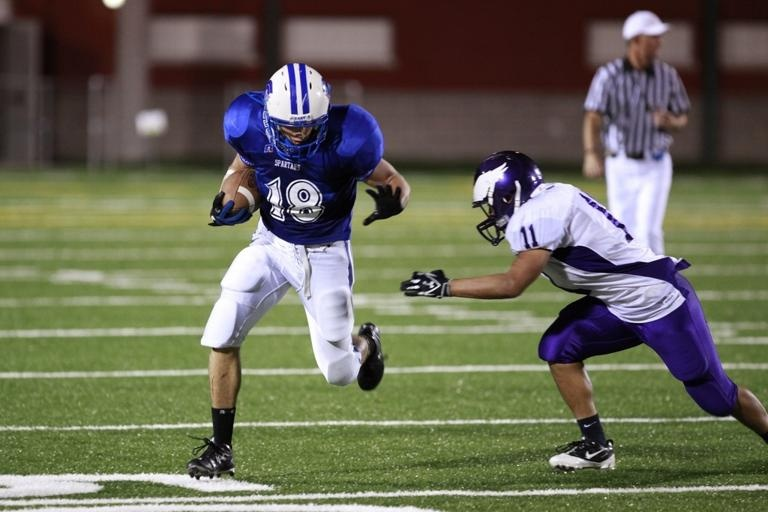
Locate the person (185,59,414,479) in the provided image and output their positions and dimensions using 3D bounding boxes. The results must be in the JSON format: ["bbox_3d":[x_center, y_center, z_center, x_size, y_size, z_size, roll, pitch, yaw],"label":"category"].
[{"bbox_3d":[-0.693,0.064,8.373,1.409,2.618,0.682,-1,8,-10],"label":"person"}]

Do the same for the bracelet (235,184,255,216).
[{"bbox_3d":[-1.017,-0.373,8.362,0.066,0.157,0.132,-15,4,-36],"label":"bracelet"}]

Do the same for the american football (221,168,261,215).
[{"bbox_3d":[-1.068,-0.434,8.373,0.295,0.280,0.223,15,13,35],"label":"american football"}]

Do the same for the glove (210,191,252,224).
[{"bbox_3d":[-1.126,-0.297,8.344,0.263,0.196,0.143,-17,-21,-9],"label":"glove"}]

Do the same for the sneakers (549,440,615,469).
[{"bbox_3d":[1.289,1.297,8.379,0.479,0.207,0.179,1,-3,-3],"label":"sneakers"}]

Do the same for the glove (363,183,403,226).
[{"bbox_3d":[-0.094,-0.339,8.332,0.285,0.244,0.217,-1,9,-13],"label":"glove"}]

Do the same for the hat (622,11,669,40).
[{"bbox_3d":[2.148,-1.846,10.554,0.411,0.213,0.305,-4,25,25],"label":"hat"}]

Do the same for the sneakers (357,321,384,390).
[{"bbox_3d":[-0.186,0.701,8.899,0.224,0.425,0.184,1,7,-1],"label":"sneakers"}]

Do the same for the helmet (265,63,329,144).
[{"bbox_3d":[-0.715,-0.987,8.234,0.410,0.520,0.444,-3,-27,-12],"label":"helmet"}]

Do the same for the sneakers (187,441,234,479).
[{"bbox_3d":[-1.223,1.321,8.247,0.172,0.206,0.364,-9,-14,42],"label":"sneakers"}]
